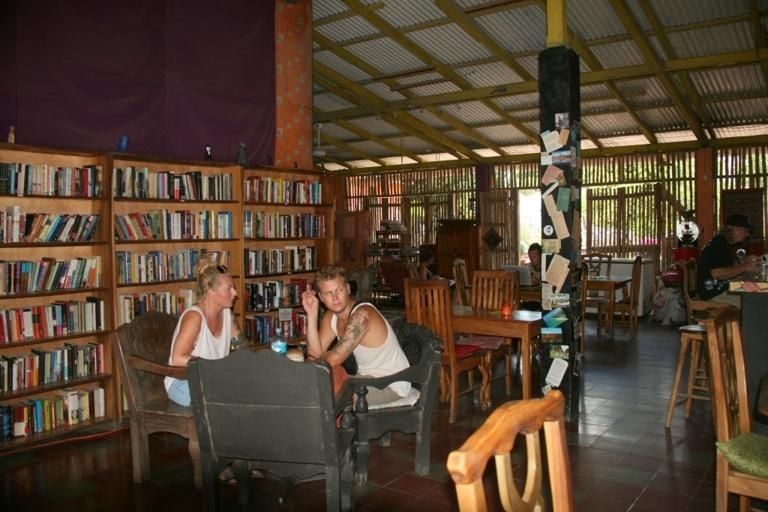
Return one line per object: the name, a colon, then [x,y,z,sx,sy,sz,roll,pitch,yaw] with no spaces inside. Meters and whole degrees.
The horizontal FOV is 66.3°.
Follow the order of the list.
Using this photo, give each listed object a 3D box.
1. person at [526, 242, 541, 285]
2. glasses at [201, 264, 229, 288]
person: [2.560,0.127,9.871,0.175,0.699,0.439,-1,-2,10]
glasses: [-1.531,0.184,5.337,0.110,0.177,0.233,22,-21,-4]
